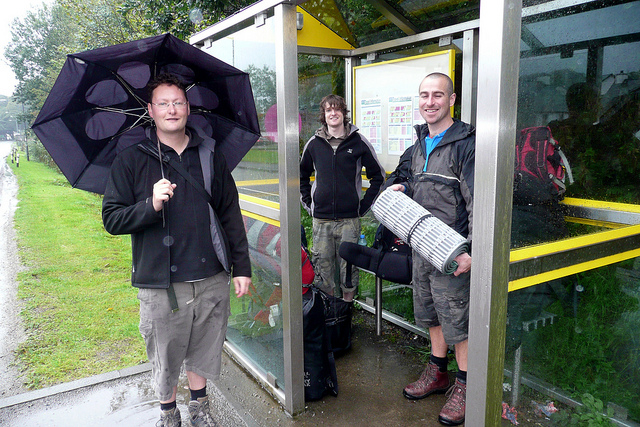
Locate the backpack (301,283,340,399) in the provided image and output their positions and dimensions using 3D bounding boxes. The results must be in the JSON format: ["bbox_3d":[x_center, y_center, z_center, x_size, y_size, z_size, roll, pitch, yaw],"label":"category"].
[{"bbox_3d":[-0.001,1.083,3.849,0.285,0.956,0.364,-3,11,1],"label":"backpack"}]

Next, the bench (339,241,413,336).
[{"bbox_3d":[0.559,0.753,4.453,0.379,0.886,0.846,-14,22,-41],"label":"bench"}]

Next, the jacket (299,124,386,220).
[{"bbox_3d":[0.213,-0.441,4.738,0.979,0.974,0.407,1,10,12],"label":"jacket"}]

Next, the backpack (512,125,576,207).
[{"bbox_3d":[1.301,-0.251,2.744,0.314,0.493,0.333,12,-14,-27],"label":"backpack"}]

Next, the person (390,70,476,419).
[{"bbox_3d":[0.882,0.259,3.581,0.599,2.654,1.129,-2,11,8],"label":"person"}]

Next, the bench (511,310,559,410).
[{"bbox_3d":[1.261,0.840,2.699,0.444,0.499,0.065,-11,13,-34],"label":"bench"}]
